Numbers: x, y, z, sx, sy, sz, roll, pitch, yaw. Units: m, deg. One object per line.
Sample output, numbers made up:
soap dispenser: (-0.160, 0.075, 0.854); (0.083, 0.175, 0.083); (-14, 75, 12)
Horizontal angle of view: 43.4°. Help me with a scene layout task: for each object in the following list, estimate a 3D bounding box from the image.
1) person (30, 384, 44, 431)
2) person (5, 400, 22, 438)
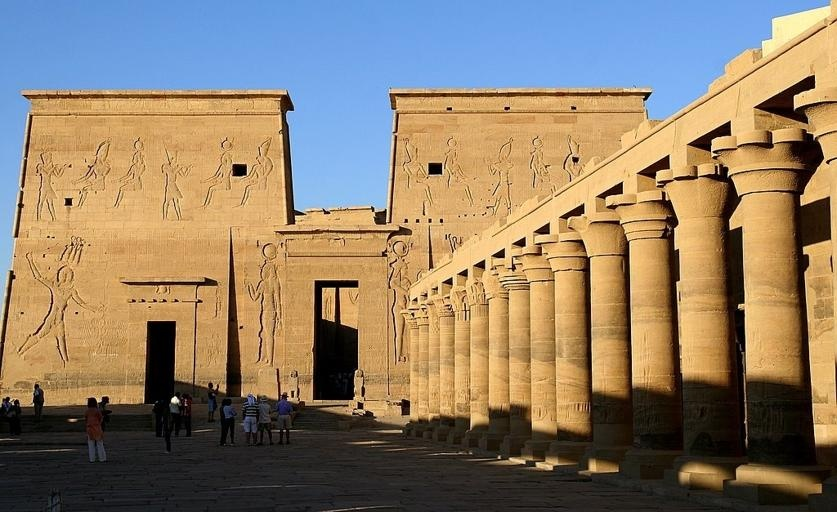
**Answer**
person: (-13.898, 5.463, 38.369); (0.374, 1.576, 0.928); (6, -14, -19)
person: (-13.510, 5.359, 35.088); (0.460, 1.202, 1.289); (7, -14, -20)
